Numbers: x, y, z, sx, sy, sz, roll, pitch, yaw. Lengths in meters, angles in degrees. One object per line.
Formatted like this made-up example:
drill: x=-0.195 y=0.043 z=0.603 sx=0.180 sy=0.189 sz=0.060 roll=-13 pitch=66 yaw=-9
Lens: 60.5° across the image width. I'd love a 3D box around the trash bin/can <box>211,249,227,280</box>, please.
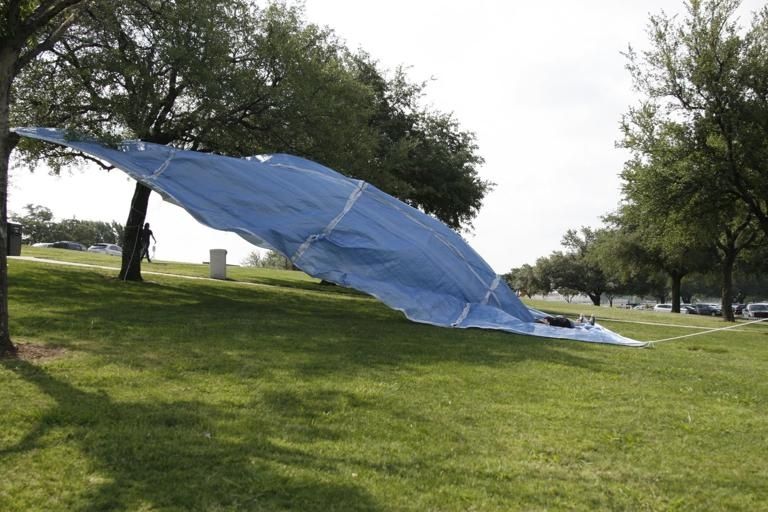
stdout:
trash bin/can: x=-9.376 y=0.396 z=37.347 sx=0.851 sy=1.068 sz=1.386 roll=5 pitch=2 yaw=-20
